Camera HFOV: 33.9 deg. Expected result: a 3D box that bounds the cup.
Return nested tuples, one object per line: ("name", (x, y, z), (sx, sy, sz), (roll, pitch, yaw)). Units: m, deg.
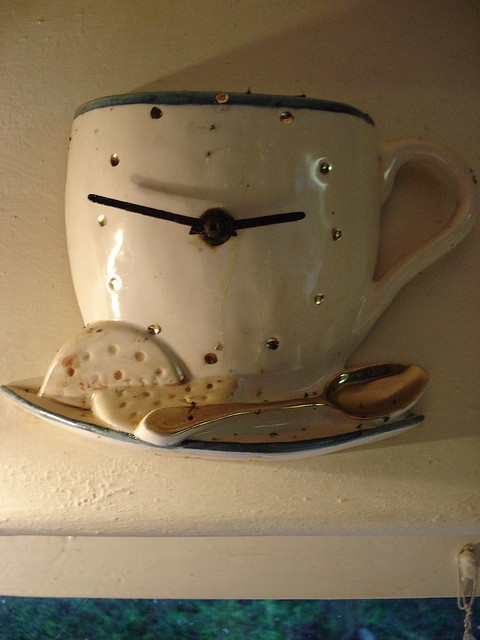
("cup", (0.023, -0.065, 1.040), (0.649, 0.309, 0.433), (1, -3, 5))
